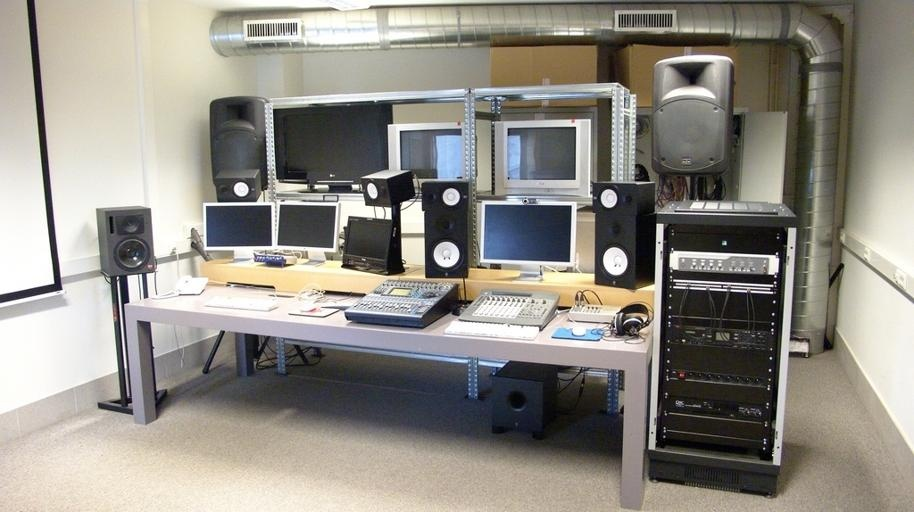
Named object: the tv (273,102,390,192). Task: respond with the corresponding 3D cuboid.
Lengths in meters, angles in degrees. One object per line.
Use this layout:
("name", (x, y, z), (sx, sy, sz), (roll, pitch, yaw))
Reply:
("tv", (-1.153, -1.042, 6.236), (0.920, 0.542, 0.256), (3, 15, 13))

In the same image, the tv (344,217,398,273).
("tv", (-0.743, -0.082, 5.765), (0.498, 0.412, 0.254), (4, 6, 28))

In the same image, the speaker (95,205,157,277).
("speaker", (-2.857, -0.127, 5.763), (0.401, 0.559, 0.161), (-11, 18, -35))

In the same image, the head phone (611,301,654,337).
("head phone", (1.317, 0.509, 4.994), (0.289, 0.120, 0.223), (-31, 27, 13))

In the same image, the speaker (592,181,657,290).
("speaker", (1.312, -0.167, 5.251), (0.502, 0.825, 0.296), (0, 15, 2))

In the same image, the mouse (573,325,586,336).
("mouse", (0.902, 0.555, 4.969), (0.107, 0.041, 0.138), (1, 14, 7))

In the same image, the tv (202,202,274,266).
("tv", (-1.992, -0.212, 6.077), (0.667, 0.430, 0.160), (-1, -1, 1))

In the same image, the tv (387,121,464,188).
("tv", (-0.211, -0.932, 6.246), (1.015, 0.736, 0.517), (1, 5, 11))

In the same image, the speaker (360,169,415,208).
("speaker", (-0.584, -0.573, 5.766), (0.362, 0.241, 0.371), (3, 23, 32))

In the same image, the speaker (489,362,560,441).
("speaker", (0.537, 1.171, 5.466), (0.480, 0.528, 0.665), (1, 4, 15))
